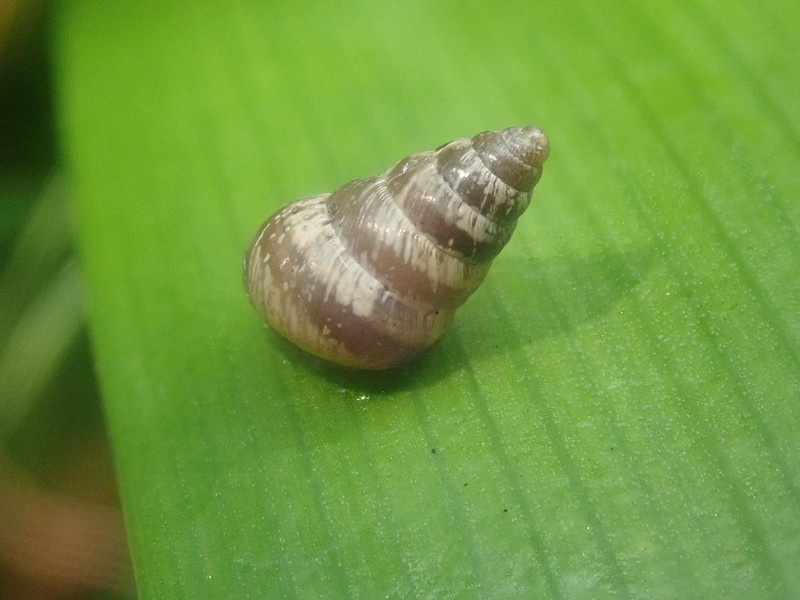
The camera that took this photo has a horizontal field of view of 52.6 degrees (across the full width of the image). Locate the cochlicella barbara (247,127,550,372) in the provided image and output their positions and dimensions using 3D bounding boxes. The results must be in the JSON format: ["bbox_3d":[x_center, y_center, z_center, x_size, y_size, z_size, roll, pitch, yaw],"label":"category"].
[{"bbox_3d":[-0.001,-0.059,1.141,0.455,0.207,0.217,-12,55,6],"label":"cochlicella barbara"}]
